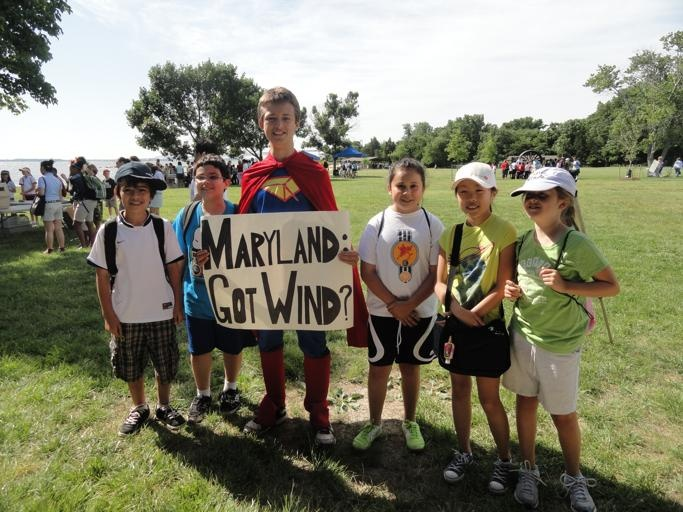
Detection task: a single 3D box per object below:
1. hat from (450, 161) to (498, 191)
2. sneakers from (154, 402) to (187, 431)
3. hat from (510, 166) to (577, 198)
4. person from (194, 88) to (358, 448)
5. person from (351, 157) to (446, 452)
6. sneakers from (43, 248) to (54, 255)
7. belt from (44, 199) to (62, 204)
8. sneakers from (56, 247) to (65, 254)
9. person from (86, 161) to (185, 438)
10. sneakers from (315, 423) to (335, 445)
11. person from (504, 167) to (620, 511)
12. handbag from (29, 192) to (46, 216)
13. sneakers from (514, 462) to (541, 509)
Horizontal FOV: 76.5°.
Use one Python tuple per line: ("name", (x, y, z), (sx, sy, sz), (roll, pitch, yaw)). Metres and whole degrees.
("hat", (1.222, -0.690, 3.862), (0.234, 0.187, 0.327), (-2, 1, 34))
("sneakers", (-1.751, 1.629, 4.494), (0.349, 0.153, 0.163), (21, 14, 27))
("hat", (1.778, -0.576, 3.720), (0.383, 0.229, 0.311), (7, 1, 3))
("person", (-0.421, 0.091, 4.342), (1.311, 3.399, 0.965), (0, 11, 5))
("person", (0.560, 0.475, 4.147), (0.788, 2.733, 0.667), (2, 11, 11))
("sneakers", (-7.363, -0.126, 10.941), (0.229, 0.126, 0.610), (-10, 16, -36))
("belt", (-7.402, -1.401, 11.251), (0.188, 0.092, 0.443), (3, 14, 14))
("sneakers", (-7.080, -0.123, 11.020), (0.155, 0.201, 0.168), (1, 13, -1))
("person", (-1.984, 0.420, 4.316), (0.836, 2.625, 0.637), (-5, 12, -22))
("sneakers", (-0.159, 1.769, 4.258), (0.213, 0.182, 0.204), (-1, 12, -2))
("person", (1.807, 0.668, 3.632), (0.802, 2.730, 0.787), (4, 12, 23))
("handbag", (-7.742, -1.254, 11.086), (0.492, 0.554, 0.295), (8, 14, 35))
("sneakers", (1.552, 1.929, 3.608), (0.160, 0.168, 0.370), (0, -11, 19))
